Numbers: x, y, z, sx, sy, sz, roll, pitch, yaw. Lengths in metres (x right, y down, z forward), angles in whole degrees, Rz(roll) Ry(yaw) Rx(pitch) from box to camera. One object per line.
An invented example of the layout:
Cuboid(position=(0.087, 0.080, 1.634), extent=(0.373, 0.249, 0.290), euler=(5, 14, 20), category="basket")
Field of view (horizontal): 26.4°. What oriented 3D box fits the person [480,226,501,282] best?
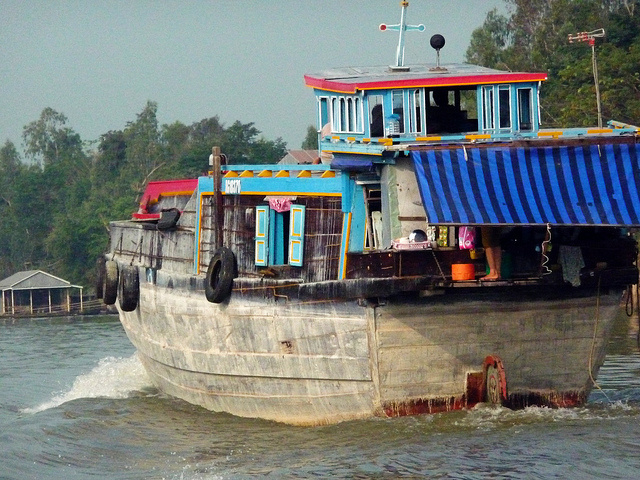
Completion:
Cuboid(position=(5.050, 0.413, 40.035), extent=(0.377, 1.681, 1.564), euler=(1, -1, 35), category="person")
